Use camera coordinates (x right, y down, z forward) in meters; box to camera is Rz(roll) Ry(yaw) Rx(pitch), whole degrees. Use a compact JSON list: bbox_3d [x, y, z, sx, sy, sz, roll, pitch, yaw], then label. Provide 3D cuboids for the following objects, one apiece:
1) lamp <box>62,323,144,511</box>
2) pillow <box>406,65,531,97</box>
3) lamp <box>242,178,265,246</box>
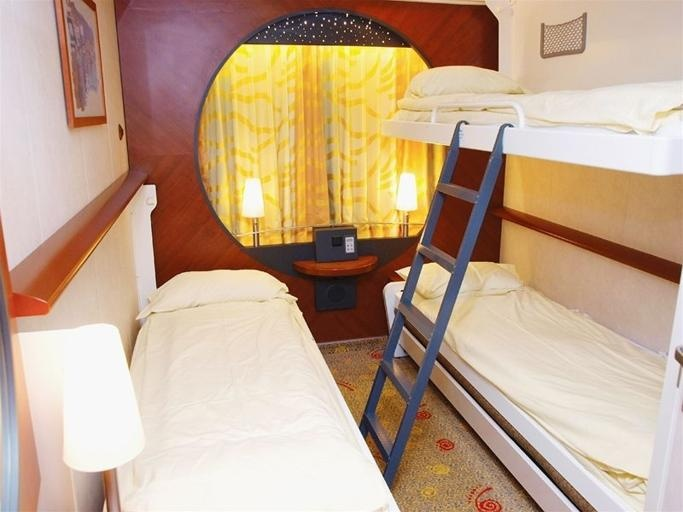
[{"bbox_3d":[-0.632,0.368,1.279,0.192,0.374,0.099,-8,20,-33],"label":"lamp"},{"bbox_3d":[0.775,-1.065,3.018,0.424,0.112,0.342,1,26,-2],"label":"pillow"},{"bbox_3d":[-0.720,-0.351,4.004,0.172,0.566,0.395,0,17,-10],"label":"lamp"}]
